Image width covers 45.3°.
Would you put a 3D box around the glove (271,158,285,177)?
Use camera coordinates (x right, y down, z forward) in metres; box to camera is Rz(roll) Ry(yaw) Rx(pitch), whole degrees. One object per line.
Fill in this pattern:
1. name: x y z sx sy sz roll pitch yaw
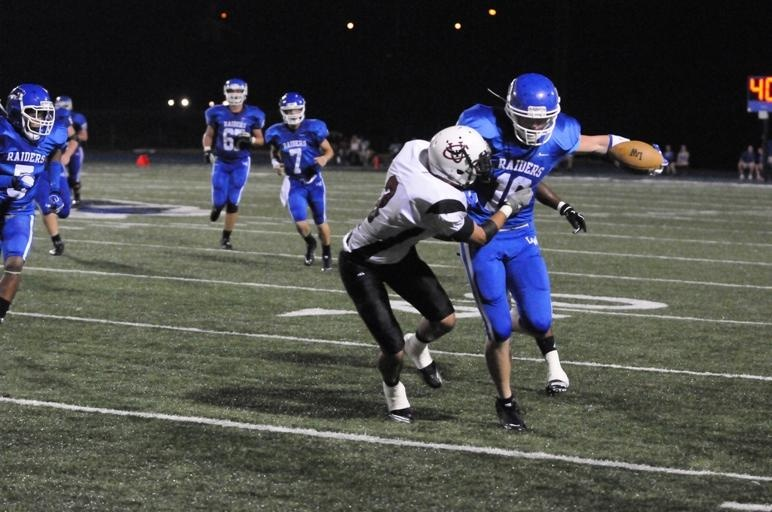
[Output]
1. glove: -1.371 -1.129 11.760 0.127 0.102 0.396 8 23 -18

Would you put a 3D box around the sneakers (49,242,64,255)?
1. sneakers: -4.029 -0.091 11.369 0.136 0.086 0.259 0 -13 -26

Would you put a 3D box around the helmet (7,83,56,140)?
1. helmet: -2.987 -1.194 7.766 0.366 0.459 0.290 -4 14 -22

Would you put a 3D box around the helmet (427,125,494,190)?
1. helmet: 0.437 -0.656 6.087 0.445 0.331 0.328 0 49 -6

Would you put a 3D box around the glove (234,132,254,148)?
1. glove: -1.922 -1.543 12.419 0.246 0.213 0.283 0 13 -5

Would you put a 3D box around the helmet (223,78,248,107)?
1. helmet: -2.179 -2.275 12.926 0.401 0.402 0.459 1 7 -3

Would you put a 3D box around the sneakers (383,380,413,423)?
1. sneakers: 0.075 1.001 6.353 0.133 0.149 0.334 -20 61 -12

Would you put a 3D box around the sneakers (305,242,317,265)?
1. sneakers: -0.924 -0.062 11.369 0.123 0.318 0.239 3 2 14

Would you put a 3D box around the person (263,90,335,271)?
1. person: -1.076 -0.962 11.587 0.837 2.081 1.414 -1 13 -10

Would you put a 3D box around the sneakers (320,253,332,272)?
1. sneakers: -0.705 0.066 11.015 0.102 0.170 0.172 2 13 1

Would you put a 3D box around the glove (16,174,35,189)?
1. glove: -2.951 -0.616 7.589 0.118 0.112 0.089 -34 33 17

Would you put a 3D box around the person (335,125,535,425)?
1. person: 0.253 0.104 6.341 1.154 1.976 0.672 1 13 -3

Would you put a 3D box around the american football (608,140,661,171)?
1. american football: 1.789 -0.714 6.644 0.310 0.172 0.209 18 9 26

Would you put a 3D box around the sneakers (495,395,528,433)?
1. sneakers: 0.852 1.055 6.283 0.116 0.116 0.314 -10 19 -7

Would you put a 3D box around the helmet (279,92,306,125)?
1. helmet: -1.165 -1.869 11.795 0.424 0.413 0.501 -1 23 -3

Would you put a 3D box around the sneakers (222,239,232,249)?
1. sneakers: -2.098 -0.163 12.270 0.144 0.122 0.273 1 13 -1

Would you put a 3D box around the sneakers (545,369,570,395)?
1. sneakers: 1.257 0.919 6.769 0.124 0.115 0.193 -3 -13 2

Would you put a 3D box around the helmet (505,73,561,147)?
1. helmet: 0.992 -1.057 6.490 0.416 0.386 0.481 -1 43 1

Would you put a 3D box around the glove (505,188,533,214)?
1. glove: 0.904 -0.387 6.370 0.210 0.117 0.083 -35 22 -9
